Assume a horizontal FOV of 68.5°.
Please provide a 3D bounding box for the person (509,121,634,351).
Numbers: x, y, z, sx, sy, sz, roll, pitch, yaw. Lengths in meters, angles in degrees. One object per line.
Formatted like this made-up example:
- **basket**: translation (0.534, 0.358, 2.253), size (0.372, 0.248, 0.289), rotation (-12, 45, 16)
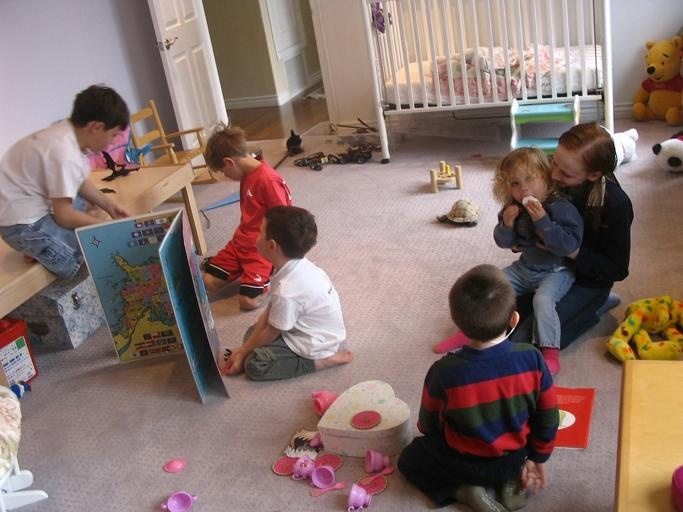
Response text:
- **person**: translation (1.119, -0.160, 2.180), size (0.448, 0.718, 0.533), rotation (8, 0, 39)

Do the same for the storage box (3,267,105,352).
- **storage box**: translation (-1.376, 0.289, 2.660), size (0.435, 0.441, 0.451), rotation (-6, 2, 18)

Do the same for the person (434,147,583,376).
- **person**: translation (0.758, -0.030, 2.058), size (0.600, 0.801, 0.496), rotation (-17, 20, -30)

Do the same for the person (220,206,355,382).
- **person**: translation (-0.185, 0.095, 2.350), size (0.706, 0.812, 0.539), rotation (6, 19, 12)

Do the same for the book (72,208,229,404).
- **book**: translation (-0.749, 0.179, 2.209), size (0.665, 0.722, 0.364), rotation (8, 30, 36)

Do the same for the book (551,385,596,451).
- **book**: translation (0.769, 0.549, 1.722), size (0.155, 0.029, 0.217), rotation (4, 38, 20)
